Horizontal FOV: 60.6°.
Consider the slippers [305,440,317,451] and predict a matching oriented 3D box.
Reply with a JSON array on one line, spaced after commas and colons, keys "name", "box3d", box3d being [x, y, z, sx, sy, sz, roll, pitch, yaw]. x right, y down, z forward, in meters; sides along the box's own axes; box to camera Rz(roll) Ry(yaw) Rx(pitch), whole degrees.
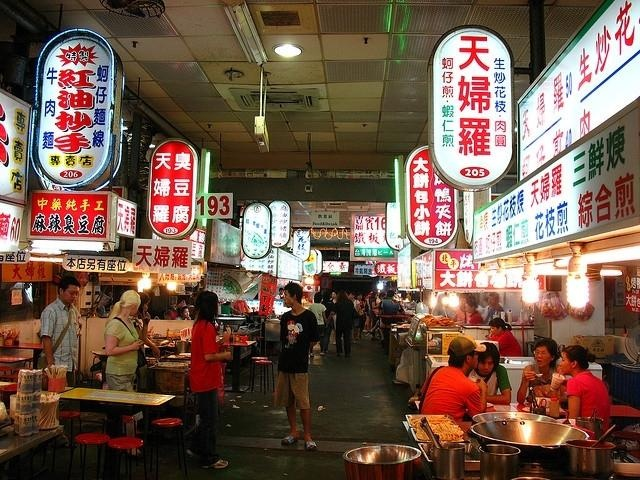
[{"name": "slippers", "box3d": [-0.107, 2.496, 6.722, 0.163, 0.117, 0.230, 2, -8, -2]}]

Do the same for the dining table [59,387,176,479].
[{"name": "dining table", "box3d": [-2.044, 1.920, 5.496, 0.975, 0.895, 1.416, 4, -8, -17]}]

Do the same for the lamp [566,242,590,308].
[{"name": "lamp", "box3d": [1.843, 0.258, 3.911, 0.153, 0.456, 0.148, -1, -1, -23]}]

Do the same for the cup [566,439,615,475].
[{"name": "cup", "box3d": [1.806, 1.428, 3.611, 0.317, 0.208, 0.249, -1, -8, 13]}]

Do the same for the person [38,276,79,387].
[{"name": "person", "box3d": [-3.188, 1.087, 6.687, 0.431, 1.300, 0.717, 5, -9, -25]}]

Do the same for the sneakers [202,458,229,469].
[{"name": "sneakers", "box3d": [-1.172, 2.509, 6.154, 0.204, 0.083, 0.112, -2, -3, -4]}]

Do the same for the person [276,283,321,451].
[{"name": "person", "box3d": [-0.276, 1.552, 6.920, 0.527, 2.006, 0.879, 2, -8, -4]}]

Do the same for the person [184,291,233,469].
[{"name": "person", "box3d": [-1.246, 1.563, 6.206, 0.499, 1.957, 0.428, 0, -8, 12]}]

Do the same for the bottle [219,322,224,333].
[{"name": "bottle", "box3d": [-2.124, 1.874, 11.785, 0.124, 0.221, 0.121, 0, -11, 0]}]

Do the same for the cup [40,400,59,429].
[{"name": "cup", "box3d": [-2.177, 1.383, 4.406, 0.189, 0.191, 0.194, 3, -2, 0]}]

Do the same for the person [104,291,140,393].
[{"name": "person", "box3d": [-2.243, 1.139, 6.212, 0.402, 1.133, 0.420, 5, -9, -23]}]

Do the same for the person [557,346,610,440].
[{"name": "person", "box3d": [2.457, 1.350, 5.079, 0.419, 0.707, 1.078, -2, -9, 26]}]

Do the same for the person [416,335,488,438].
[{"name": "person", "box3d": [1.170, 1.229, 4.885, 0.528, 0.723, 0.430, 1, -8, 4]}]
